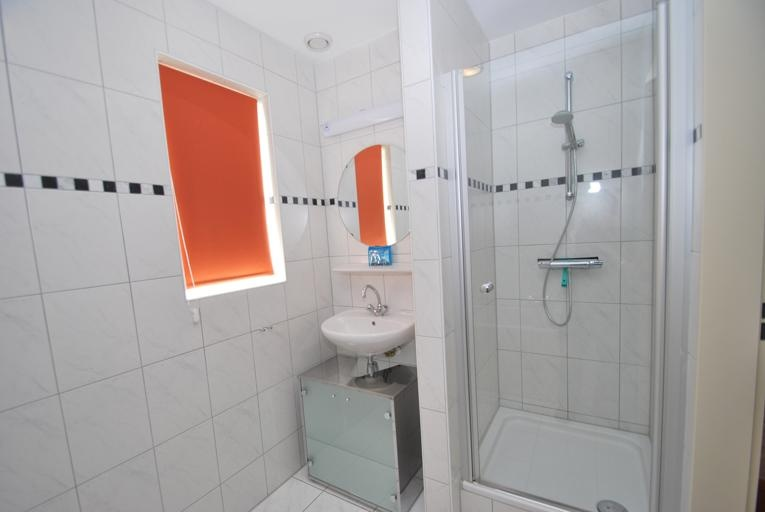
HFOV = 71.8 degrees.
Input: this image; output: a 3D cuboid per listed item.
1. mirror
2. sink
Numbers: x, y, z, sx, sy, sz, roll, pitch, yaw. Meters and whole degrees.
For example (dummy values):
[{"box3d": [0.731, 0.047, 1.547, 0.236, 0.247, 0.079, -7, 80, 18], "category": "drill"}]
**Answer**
[{"box3d": [-0.081, -0.392, 3.778, 0.595, 0.712, 0.008, 2, 12, 30], "category": "mirror"}, {"box3d": [-0.087, 0.538, 3.569, 0.637, 0.257, 0.506, -1, 6, 23], "category": "sink"}]
